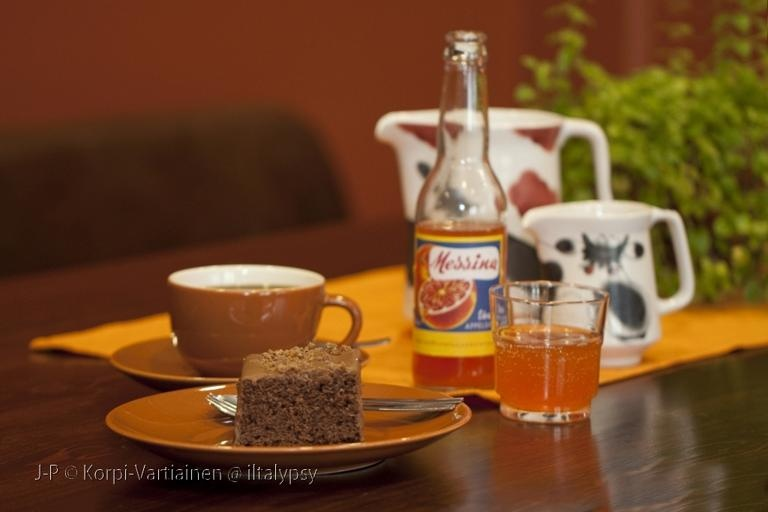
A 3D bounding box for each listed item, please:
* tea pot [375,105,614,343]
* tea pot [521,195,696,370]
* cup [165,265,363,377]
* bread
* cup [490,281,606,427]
[{"bbox_3d":[0.169,-0.057,1.026,0.317,0.299,0.206,-7,17,-15],"label":"tea pot"},{"bbox_3d":[0.288,0.038,0.916,0.219,0.200,0.146,-3,0,10],"label":"tea pot"},{"bbox_3d":[-0.169,0.087,0.867,0.184,0.111,0.235,6,-1,-3],"label":"cup"},{"bbox_3d":[-0.074,0.126,0.623,0.110,0.063,0.135,-1,12,-3],"label":"bread"},{"bbox_3d":[0.161,0.114,0.767,0.137,0.140,0.138,-5,-15,-1],"label":"cup"}]
